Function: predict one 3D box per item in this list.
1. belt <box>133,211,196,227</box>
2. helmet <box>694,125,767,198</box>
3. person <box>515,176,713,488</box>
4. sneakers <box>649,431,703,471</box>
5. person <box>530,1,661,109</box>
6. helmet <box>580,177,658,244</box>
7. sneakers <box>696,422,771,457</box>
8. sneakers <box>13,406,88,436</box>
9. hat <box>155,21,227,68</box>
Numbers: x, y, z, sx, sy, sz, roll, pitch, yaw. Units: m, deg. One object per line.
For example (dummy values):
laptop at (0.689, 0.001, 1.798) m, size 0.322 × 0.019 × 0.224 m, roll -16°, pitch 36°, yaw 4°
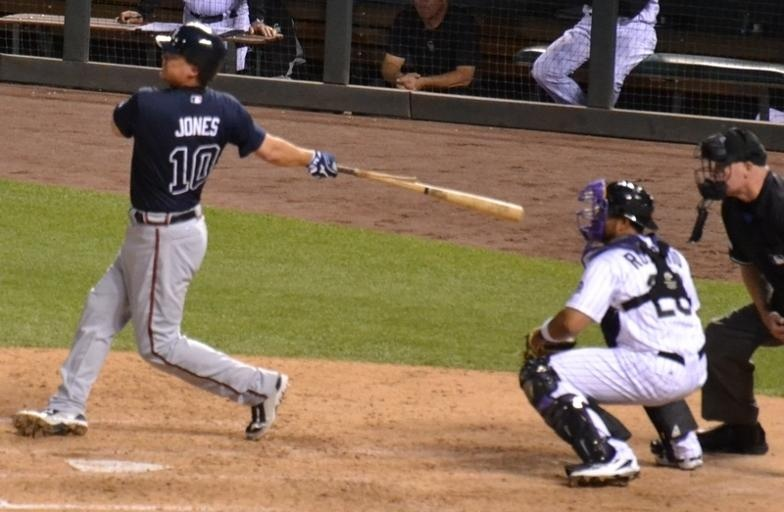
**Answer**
belt at (-1.653, -0.284, 11.509) m, size 0.456 × 0.128 × 0.086 m, roll 6°, pitch 12°, yaw -7°
helmet at (2.537, -0.705, 12.065) m, size 0.648 × 0.524 × 0.471 m, roll 4°, pitch 7°, yaw 9°
person at (1.639, 0.548, 11.456) m, size 1.281 × 2.122 × 0.763 m, roll 10°, pitch 12°, yaw 4°
sneakers at (2.111, 1.462, 11.810) m, size 0.389 × 0.222 × 0.235 m, roll -2°, pitch 3°, yaw 37°
person at (1.990, -2.008, 15.249) m, size 0.713 × 1.292 × 0.424 m, roll 26°, pitch -1°, yaw 18°
helmet at (1.625, -0.341, 11.778) m, size 0.613 × 0.390 × 0.428 m, roll 7°, pitch 5°, yaw 13°
sneakers at (2.625, 1.403, 12.046) m, size 0.568 × 0.195 × 0.222 m, roll 3°, pitch 5°, yaw 19°
sneakers at (-2.470, 1.220, 11.448) m, size 0.494 × 0.208 × 0.200 m, roll 5°, pitch 28°, yaw -13°
hat at (-1.432, -1.585, 11.564) m, size 0.476 × 0.217 × 0.280 m, roll 19°, pitch 29°, yaw -14°
